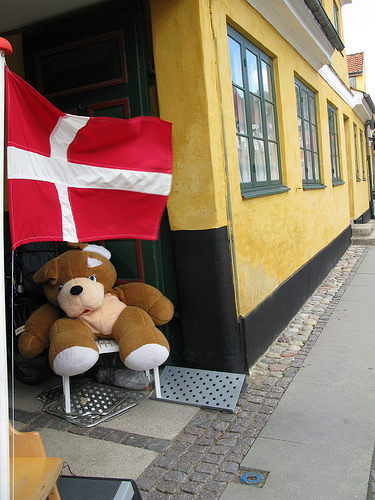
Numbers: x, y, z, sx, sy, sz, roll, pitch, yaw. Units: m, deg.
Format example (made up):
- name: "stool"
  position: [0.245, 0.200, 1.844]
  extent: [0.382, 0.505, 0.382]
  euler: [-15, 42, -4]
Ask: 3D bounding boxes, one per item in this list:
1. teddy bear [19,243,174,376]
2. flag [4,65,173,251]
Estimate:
- name: "teddy bear"
  position: [-0.659, 0.486, 3.064]
  extent: [1.000, 0.652, 1.021]
  euler: [-9, 29, -16]
- name: "flag"
  position: [-0.529, -0.558, 2.475]
  extent: [0.158, 1.151, 1.456]
  euler: [-1, 5, 26]
